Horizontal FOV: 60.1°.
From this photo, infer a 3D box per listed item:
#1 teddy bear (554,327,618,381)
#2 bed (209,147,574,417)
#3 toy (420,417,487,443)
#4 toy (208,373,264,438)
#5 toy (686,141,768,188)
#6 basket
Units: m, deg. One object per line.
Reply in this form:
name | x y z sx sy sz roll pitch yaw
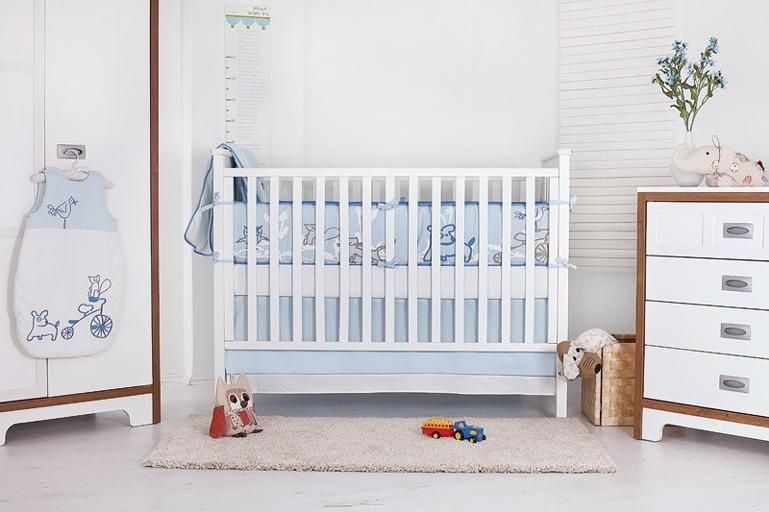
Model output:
teddy bear | 1.033 0.559 3.427 0.186 0.109 0.239 6 16 -6
bed | 0.025 0.176 3.857 1.813 1.174 0.645 1 0 0
toy | 0.344 0.874 3.359 0.365 0.111 0.113 -2 -6 13
toy | -0.767 0.765 3.383 0.200 0.304 0.289 -15 -9 40
toy | 1.717 -0.448 3.307 0.322 0.224 0.127 7 -12 3
basket | 1.265 0.700 3.633 0.360 0.387 0.349 3 -3 -19
